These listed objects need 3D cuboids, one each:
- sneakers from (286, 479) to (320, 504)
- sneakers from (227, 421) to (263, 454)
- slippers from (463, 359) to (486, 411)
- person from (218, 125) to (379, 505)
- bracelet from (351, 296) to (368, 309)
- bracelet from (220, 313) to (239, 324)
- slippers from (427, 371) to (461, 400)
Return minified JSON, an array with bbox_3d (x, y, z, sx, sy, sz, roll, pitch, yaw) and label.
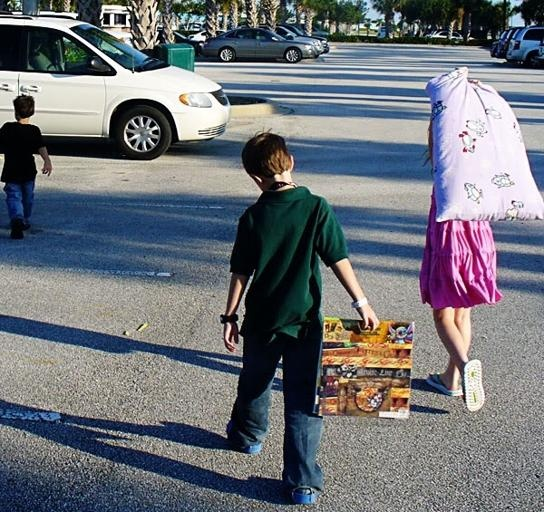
[{"bbox_3d":[0.130,0.975,2.412,0.143,0.075,0.193,1,0,5],"label":"sneakers"},{"bbox_3d":[-0.149,0.876,2.886,0.151,0.102,0.253,-2,11,-21],"label":"sneakers"},{"bbox_3d":[1.013,0.646,2.942,0.126,0.245,0.066,0,1,-14],"label":"slippers"},{"bbox_3d":[0.068,0.264,2.487,0.588,1.545,0.375,15,20,34],"label":"person"},{"bbox_3d":[0.367,0.199,2.459,0.048,0.026,0.062,-12,4,12],"label":"bracelet"},{"bbox_3d":[-0.183,0.268,2.535,0.064,0.036,0.049,-4,4,-34],"label":"bracelet"},{"bbox_3d":[1.021,0.775,3.477,0.085,0.081,0.207,-6,23,-24],"label":"slippers"}]
